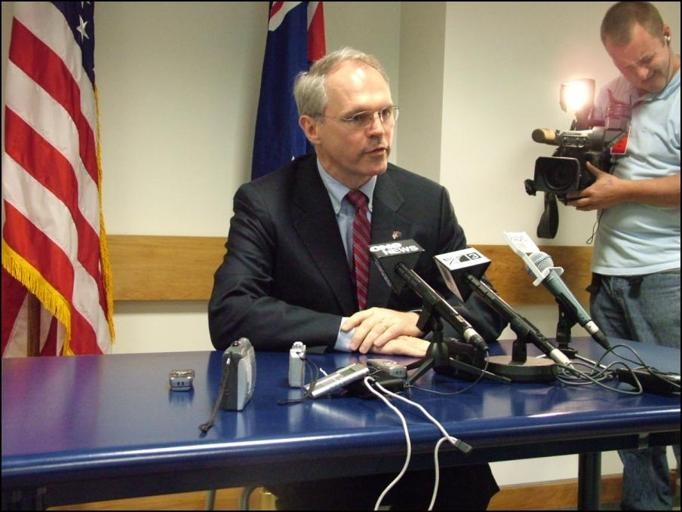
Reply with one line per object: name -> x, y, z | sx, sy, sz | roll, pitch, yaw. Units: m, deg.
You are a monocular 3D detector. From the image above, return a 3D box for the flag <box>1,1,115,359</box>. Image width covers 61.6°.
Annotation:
flag -> -1.272, -0.343, 2.531 | 0.401, 1.570, 0.502 | -4, 14, -19

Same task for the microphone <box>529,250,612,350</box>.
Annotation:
microphone -> 0.877, 0.145, 2.152 | 0.136, 0.454, 0.137 | -40, -15, 27

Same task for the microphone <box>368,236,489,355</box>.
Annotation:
microphone -> 0.194, 0.104, 1.385 | 0.135, 0.156, 0.414 | -27, 47, -20

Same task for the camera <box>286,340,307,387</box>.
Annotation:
camera -> -0.106, 0.261, 1.364 | 0.043, 0.101, 0.098 | 1, 2, 2

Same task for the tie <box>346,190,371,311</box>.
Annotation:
tie -> 0.057, -0.023, 1.938 | 0.071, 0.380, 0.065 | 0, -21, -5
